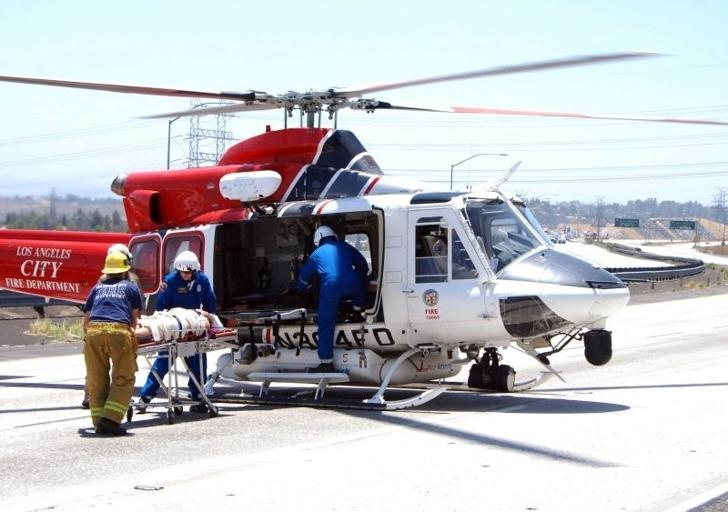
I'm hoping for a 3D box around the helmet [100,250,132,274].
[{"bbox_3d":[-3.664,0.088,12.060,0.394,0.194,0.414,-1,8,7],"label":"helmet"}]

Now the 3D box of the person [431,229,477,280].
[{"bbox_3d":[1.392,-0.042,12.872,0.720,0.818,0.216,-3,-3,43],"label":"person"}]

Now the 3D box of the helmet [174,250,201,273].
[{"bbox_3d":[-2.895,0.111,13.148,0.415,0.277,0.435,2,-5,7],"label":"helmet"}]

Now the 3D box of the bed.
[{"bbox_3d":[-3.111,1.949,12.871,2.699,1.099,1.326,-17,0,-27],"label":"bed"}]

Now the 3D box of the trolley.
[{"bbox_3d":[-2.740,1.886,12.941,1.917,0.940,1.307,-18,9,28],"label":"trolley"}]

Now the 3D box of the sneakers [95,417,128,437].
[{"bbox_3d":[-3.611,2.437,11.523,0.637,0.195,0.181,8,5,-5],"label":"sneakers"}]
